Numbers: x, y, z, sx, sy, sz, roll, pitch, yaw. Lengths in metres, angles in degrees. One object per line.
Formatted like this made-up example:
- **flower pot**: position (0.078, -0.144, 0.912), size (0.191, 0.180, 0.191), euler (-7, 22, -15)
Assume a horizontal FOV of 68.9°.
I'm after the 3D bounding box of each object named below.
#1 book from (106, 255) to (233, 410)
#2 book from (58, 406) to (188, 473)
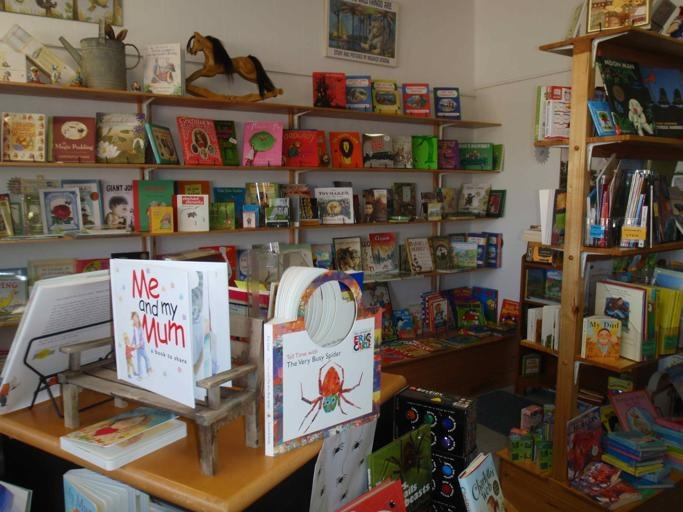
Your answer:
- **book**: position (-0.579, 0.242, 1.656), size (0.474, 0.470, 0.127), euler (1, 9, 28)
- **book**: position (-0.756, 0.638, 1.729), size (0.277, 0.072, 0.304), euler (11, 13, 31)
